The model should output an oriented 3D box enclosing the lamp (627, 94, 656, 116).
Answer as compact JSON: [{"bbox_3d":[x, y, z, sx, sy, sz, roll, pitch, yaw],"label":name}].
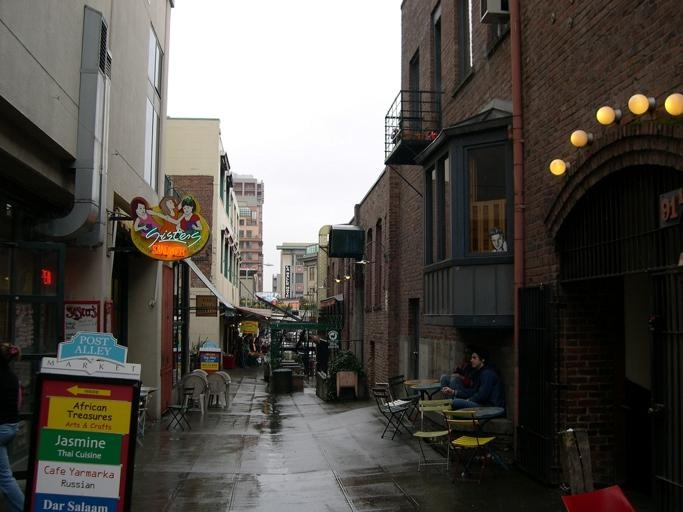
[{"bbox_3d":[3.650,-1.868,8.294,0.268,0.254,0.228,0,20,-19],"label":"lamp"}]

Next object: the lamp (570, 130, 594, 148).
[{"bbox_3d":[3.393,-1.657,9.615,0.259,0.245,0.214,-1,3,-26],"label":"lamp"}]

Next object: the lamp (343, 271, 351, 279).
[{"bbox_3d":[0.222,0.814,27.885,0.222,0.385,0.271,-5,-39,5],"label":"lamp"}]

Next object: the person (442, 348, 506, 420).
[{"bbox_3d":[2.411,2.228,12.273,0.878,1.005,1.402,0,-5,-14],"label":"person"}]

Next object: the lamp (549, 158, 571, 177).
[{"bbox_3d":[3.316,-1.358,10.272,0.270,0.259,0.514,-4,-5,26],"label":"lamp"}]

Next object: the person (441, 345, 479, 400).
[{"bbox_3d":[2.289,2.325,13.007,0.483,1.012,0.452,25,-10,-7],"label":"person"}]

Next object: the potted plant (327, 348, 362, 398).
[{"bbox_3d":[0.029,4.097,23.542,1.178,1.865,1.231,2,-10,-14],"label":"potted plant"}]

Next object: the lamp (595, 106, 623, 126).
[{"bbox_3d":[3.494,-1.828,8.945,0.289,0.275,0.247,-2,20,-16],"label":"lamp"}]
